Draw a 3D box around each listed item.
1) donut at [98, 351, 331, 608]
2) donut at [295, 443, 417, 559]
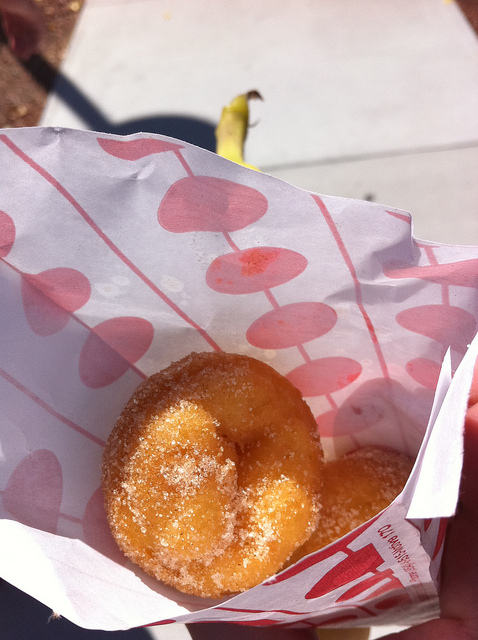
[{"bbox_3d":[-0.024,0.170,0.820,0.292,0.100,0.257,5,80,-10],"label":"donut"},{"bbox_3d":[0.135,0.193,0.901,0.198,0.155,0.137,5,96,5],"label":"donut"}]
